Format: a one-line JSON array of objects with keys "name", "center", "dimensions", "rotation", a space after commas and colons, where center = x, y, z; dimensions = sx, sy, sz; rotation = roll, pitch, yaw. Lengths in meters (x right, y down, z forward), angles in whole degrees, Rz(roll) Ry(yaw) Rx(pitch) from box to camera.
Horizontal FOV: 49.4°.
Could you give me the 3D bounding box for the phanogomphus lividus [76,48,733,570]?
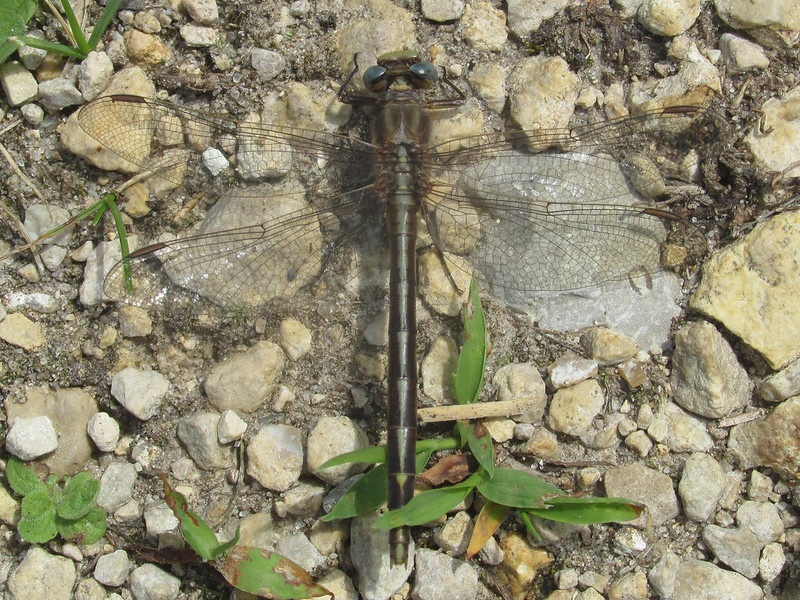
[{"name": "phanogomphus lividus", "center": [0.050, 0.099, 4.041], "dimensions": [2.035, 0.547, 2.164], "rotation": [0, 83, 4]}]
